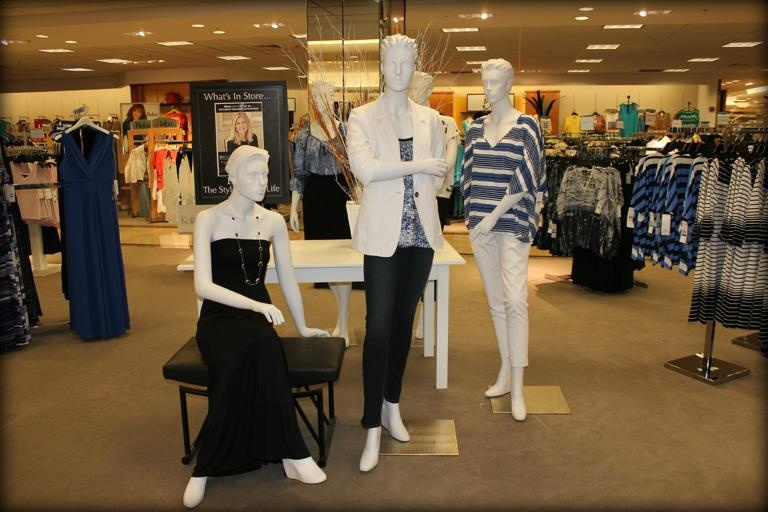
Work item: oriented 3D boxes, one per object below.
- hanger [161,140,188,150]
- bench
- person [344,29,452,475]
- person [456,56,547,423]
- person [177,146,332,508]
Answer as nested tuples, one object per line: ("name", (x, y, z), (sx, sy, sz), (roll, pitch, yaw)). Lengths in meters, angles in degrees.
("hanger", (-3.622, -1.918, 9.744), (0.429, 0.113, 0.225), (2, 11, -4))
("bench", (-0.752, 0.759, 3.661), (1.154, 0.781, 0.839), (1, 19, 1))
("person", (0.098, 0.003, 3.572), (0.638, 2.695, 0.392), (-3, 11, -6))
("person", (0.829, -0.110, 4.123), (0.569, 2.539, 0.393), (5, 13, 35))
("person", (-0.852, 0.391, 3.543), (0.883, 2.124, 0.603), (-4, 11, -8))
